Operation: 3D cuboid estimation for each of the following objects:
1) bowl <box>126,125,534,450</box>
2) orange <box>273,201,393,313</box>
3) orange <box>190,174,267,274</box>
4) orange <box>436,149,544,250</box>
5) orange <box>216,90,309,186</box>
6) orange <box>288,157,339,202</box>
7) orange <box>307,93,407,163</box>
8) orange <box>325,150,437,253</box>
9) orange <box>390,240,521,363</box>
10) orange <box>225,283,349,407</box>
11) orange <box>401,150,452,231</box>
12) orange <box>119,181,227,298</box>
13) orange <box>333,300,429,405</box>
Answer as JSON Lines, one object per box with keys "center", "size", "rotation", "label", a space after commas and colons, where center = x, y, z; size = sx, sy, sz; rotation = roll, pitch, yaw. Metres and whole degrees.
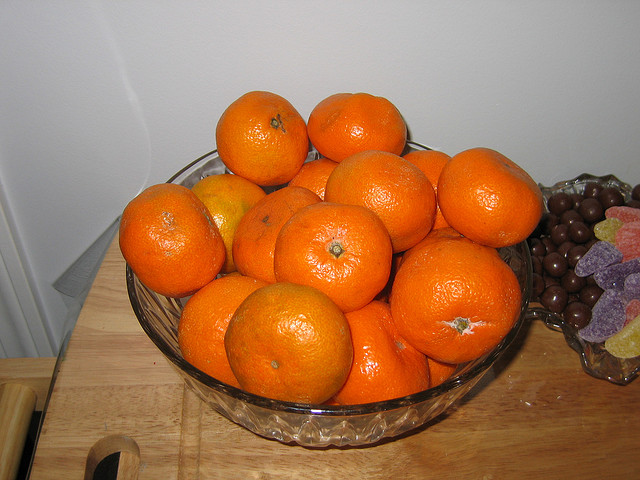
{"center": [0.018, 0.044, 0.864], "size": [0.446, 0.254, 0.479], "rotation": [0, 71, 1], "label": "bowl"}
{"center": [0.012, 0.018, 0.861], "size": [0.151, 0.154, 0.158], "rotation": [-13, 92, -10], "label": "orange"}
{"center": [-0.146, -0.014, 0.981], "size": [0.136, 0.168, 0.153], "rotation": [3, 76, -8], "label": "orange"}
{"center": [0.255, -0.051, 0.898], "size": [0.186, 0.188, 0.154], "rotation": [0, 73, -5], "label": "orange"}
{"center": [-0.100, -0.183, 0.980], "size": [0.190, 0.207, 0.162], "rotation": [-1, 88, 14], "label": "orange"}
{"center": [-0.012, -0.107, 0.978], "size": [0.073, 0.077, 0.075], "rotation": [14, 58, -1], "label": "orange"}
{"center": [0.063, -0.189, 0.953], "size": [0.129, 0.073, 0.127], "rotation": [-40, 84, -3], "label": "orange"}
{"center": [0.120, -0.037, 0.882], "size": [0.129, 0.142, 0.114], "rotation": [-11, 94, -16], "label": "orange"}
{"center": [0.205, 0.110, 0.865], "size": [0.198, 0.228, 0.226], "rotation": [4, 12, 6], "label": "orange"}
{"center": [-0.044, 0.142, 0.745], "size": [0.168, 0.110, 0.119], "rotation": [1, 45, 3], "label": "orange"}
{"center": [0.181, -0.083, 0.944], "size": [0.101, 0.102, 0.131], "rotation": [-3, 85, -40], "label": "orange"}
{"center": [-0.236, 0.004, 0.900], "size": [0.169, 0.228, 0.182], "rotation": [-7, 74, 3], "label": "orange"}
{"center": [0.089, 0.200, 0.858], "size": [0.135, 0.141, 0.133], "rotation": [13, 31, -27], "label": "orange"}
